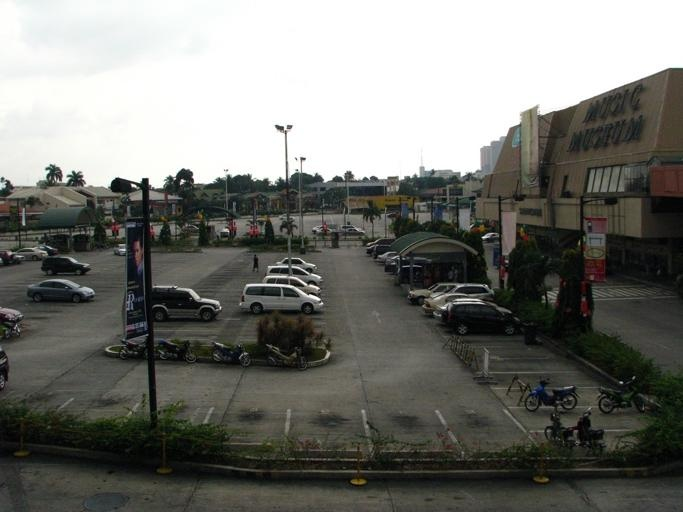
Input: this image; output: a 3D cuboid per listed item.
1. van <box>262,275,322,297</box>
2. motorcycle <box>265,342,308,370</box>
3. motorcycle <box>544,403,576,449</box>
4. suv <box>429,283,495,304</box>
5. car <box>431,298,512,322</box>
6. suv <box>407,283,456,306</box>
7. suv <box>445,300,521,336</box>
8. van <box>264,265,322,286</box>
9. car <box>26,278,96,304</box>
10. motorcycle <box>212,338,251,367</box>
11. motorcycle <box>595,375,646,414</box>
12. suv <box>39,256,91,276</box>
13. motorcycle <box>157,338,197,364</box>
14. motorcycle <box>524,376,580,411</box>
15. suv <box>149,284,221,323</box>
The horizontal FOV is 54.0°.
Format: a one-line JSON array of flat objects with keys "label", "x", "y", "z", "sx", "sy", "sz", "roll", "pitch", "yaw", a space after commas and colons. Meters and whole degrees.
[{"label": "van", "x": -3.368, "y": 2.334, "z": 46.188, "sx": 2.885, "sy": 1.166, "sz": 1.796, "roll": 1, "pitch": 6, "yaw": 1}, {"label": "motorcycle", "x": -2.492, "y": 4.667, "z": 31.437, "sx": 1.740, "sy": 1.179, "sz": 0.986, "roll": 0, "pitch": 7, "yaw": 2}, {"label": "motorcycle", "x": 7.631, "y": 6.011, "z": 23.160, "sx": 0.717, "sy": 0.930, "sz": 1.299, "roll": 10, "pitch": 1, "yaw": -14}, {"label": "suv", "x": 8.061, "y": 2.684, "z": 43.083, "sx": 3.452, "sy": 1.400, "sz": 1.689, "roll": 0, "pitch": 2, "yaw": -3}, {"label": "car", "x": 7.387, "y": 3.137, "z": 37.430, "sx": 3.202, "sy": 1.384, "sz": 1.452, "roll": 0, "pitch": 0, "yaw": 1}, {"label": "suv", "x": 5.919, "y": 2.736, "z": 45.176, "sx": 2.682, "sy": 0.916, "sz": 1.462, "roll": -5, "pitch": 5, "yaw": 12}, {"label": "suv", "x": 7.857, "y": 3.552, "z": 37.620, "sx": 4.023, "sy": 1.889, "sz": 1.223, "roll": 0, "pitch": 1, "yaw": 1}, {"label": "van", "x": -3.651, "y": 1.393, "z": 52.736, "sx": 3.523, "sy": 1.448, "sz": 1.889, "roll": 1, "pitch": 4, "yaw": 7}, {"label": "car", "x": -19.259, "y": 2.448, "z": 46.411, "sx": 3.789, "sy": 1.373, "sz": 1.898, "roll": 0, "pitch": 4, "yaw": -2}, {"label": "motorcycle", "x": -5.185, "y": 4.574, "z": 31.665, "sx": 1.979, "sy": 1.209, "sz": 0.888, "roll": 4, "pitch": 9, "yaw": 7}, {"label": "motorcycle", "x": 10.889, "y": 5.389, "z": 26.012, "sx": 1.895, "sy": 1.419, "sz": 0.709, "roll": -3, "pitch": 7, "yaw": -9}, {"label": "suv", "x": -24.091, "y": 0.902, "z": 58.782, "sx": 3.662, "sy": 1.603, "sz": 1.754, "roll": -1, "pitch": 4, "yaw": -6}, {"label": "motorcycle", "x": -7.787, "y": 4.503, "z": 32.106, "sx": 1.844, "sy": 1.130, "sz": 0.961, "roll": 3, "pitch": 4, "yaw": 7}, {"label": "motorcycle", "x": 8.141, "y": 5.320, "z": 26.045, "sx": 1.947, "sy": 1.455, "sz": 1.481, "roll": -1, "pitch": 7, "yaw": 12}, {"label": "suv", "x": -9.306, "y": 2.858, "z": 40.551, "sx": 3.739, "sy": 1.992, "sz": 1.942, "roll": -1, "pitch": 5, "yaw": -3}]
